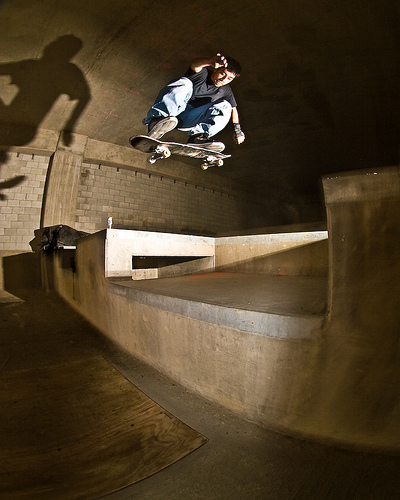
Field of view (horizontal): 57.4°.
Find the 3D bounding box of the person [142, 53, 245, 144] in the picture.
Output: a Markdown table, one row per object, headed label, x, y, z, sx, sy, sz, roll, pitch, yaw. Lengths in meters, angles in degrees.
| label | x | y | z | sx | sy | sz | roll | pitch | yaw |
| --- | --- | --- | --- | --- | --- | --- | --- | --- | --- |
| person | -0.107 | -2.252 | 5.283 | 0.935 | 1.178 | 1.090 | 51 | -15 | -30 |
